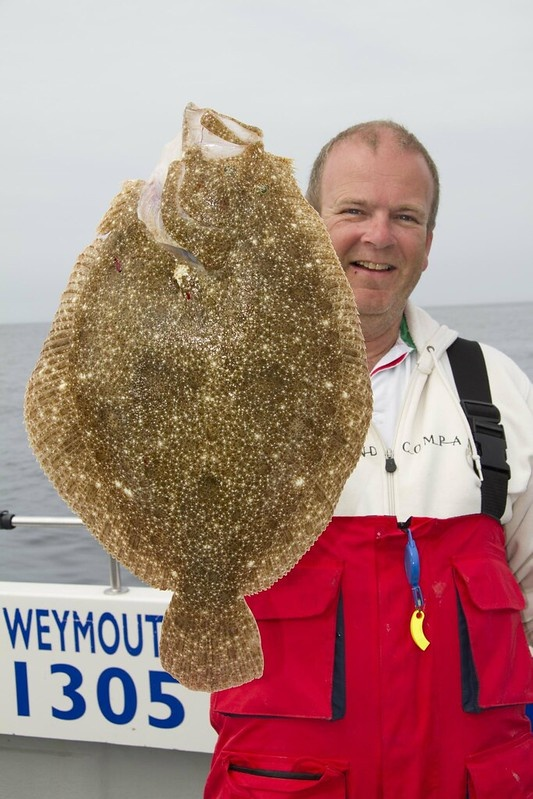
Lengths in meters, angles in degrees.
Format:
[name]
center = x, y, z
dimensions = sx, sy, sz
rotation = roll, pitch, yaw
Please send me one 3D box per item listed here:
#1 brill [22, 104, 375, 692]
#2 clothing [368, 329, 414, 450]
[brill]
center = -0.101, -0.025, 2.352
dimensions = 0.884, 1.322, 0.192
rotation = 3, -4, 6
[clothing]
center = 0.366, -0.031, 2.809
dimensions = 0.178, 0.276, 0.067
rotation = -15, -33, 38
